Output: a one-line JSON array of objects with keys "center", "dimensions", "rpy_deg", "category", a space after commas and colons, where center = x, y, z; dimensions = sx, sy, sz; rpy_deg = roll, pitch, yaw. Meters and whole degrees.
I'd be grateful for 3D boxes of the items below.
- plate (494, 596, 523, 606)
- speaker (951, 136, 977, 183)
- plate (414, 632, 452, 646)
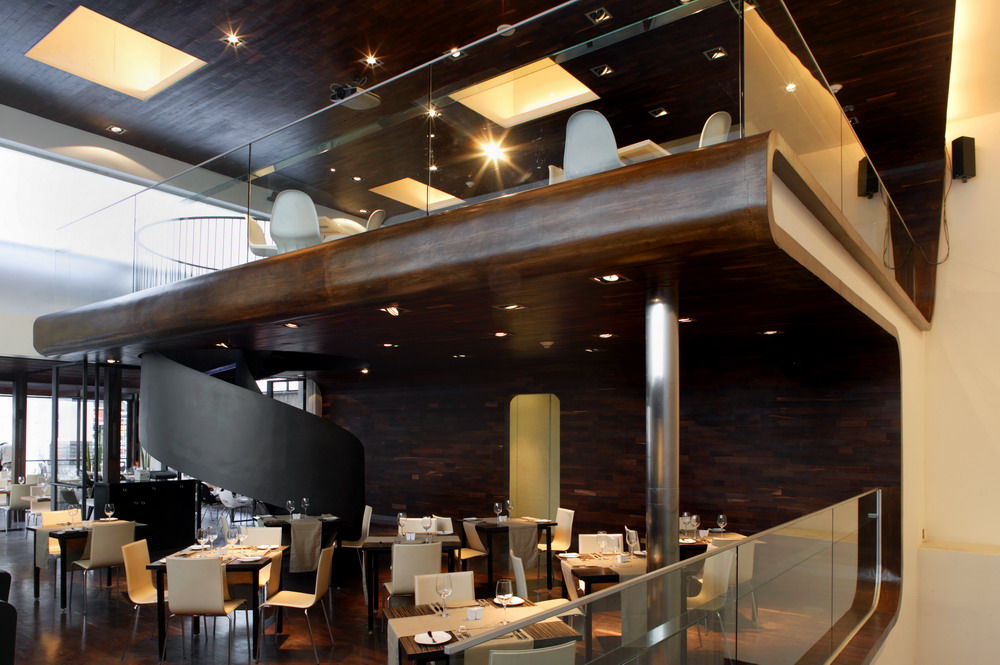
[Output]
[{"center": [0.069, 2.616, 7.049], "dimensions": [0.269, 0.032, 0.263], "rpy_deg": [4, -5, -33], "category": "plate"}, {"center": [6.721, -2.513, 10.551], "dimensions": [0.336, 0.605, 0.237], "rpy_deg": [-5, -12, 31], "category": "speaker"}, {"center": [-0.597, 2.761, 6.541], "dimensions": [0.344, 0.079, 0.217], "rpy_deg": [3, -11, -11], "category": "plate"}]
